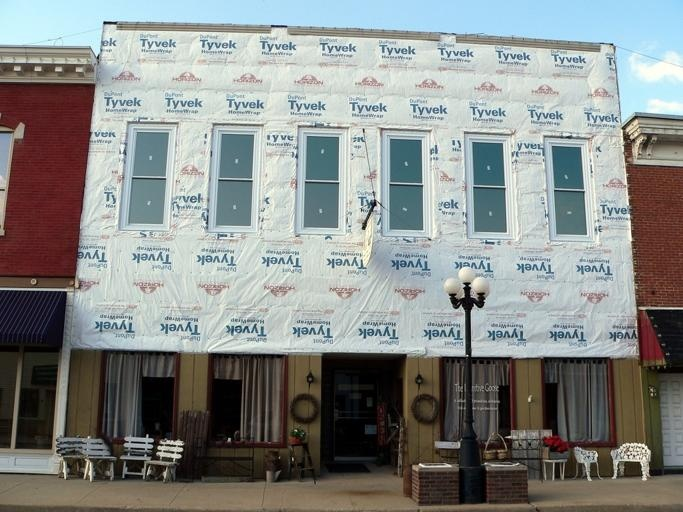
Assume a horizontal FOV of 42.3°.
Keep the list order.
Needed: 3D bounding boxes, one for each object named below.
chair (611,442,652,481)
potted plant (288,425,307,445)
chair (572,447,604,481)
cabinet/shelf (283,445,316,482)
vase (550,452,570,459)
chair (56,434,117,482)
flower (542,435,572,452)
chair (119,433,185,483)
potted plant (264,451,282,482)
[{"bbox_3d":[7.342,5.217,22.444,0.736,0.691,0.336,-5,-20,26],"label":"chair"},{"bbox_3d":[-1.080,4.465,22.067,0.385,0.400,0.343,-1,-10,19],"label":"potted plant"},{"bbox_3d":[6.217,5.227,22.421,0.645,0.916,0.749,2,-3,-5],"label":"chair"},{"bbox_3d":[-0.941,5.137,22.222,0.627,0.951,0.580,11,0,11],"label":"cabinet/shelf"},{"bbox_3d":[5.454,4.973,22.061,0.534,0.180,0.186,7,-13,-30],"label":"vase"},{"bbox_3d":[-6.243,4.952,21.656,1.461,1.042,1.004,3,-12,-14],"label":"chair"},{"bbox_3d":[5.371,4.654,21.988,0.454,0.208,0.447,4,11,-31],"label":"flower"},{"bbox_3d":[-4.639,4.976,21.748,1.685,1.048,1.029,-5,-13,26],"label":"chair"},{"bbox_3d":[-1.677,5.180,21.861,0.377,0.761,0.346,3,-11,-12],"label":"potted plant"}]
